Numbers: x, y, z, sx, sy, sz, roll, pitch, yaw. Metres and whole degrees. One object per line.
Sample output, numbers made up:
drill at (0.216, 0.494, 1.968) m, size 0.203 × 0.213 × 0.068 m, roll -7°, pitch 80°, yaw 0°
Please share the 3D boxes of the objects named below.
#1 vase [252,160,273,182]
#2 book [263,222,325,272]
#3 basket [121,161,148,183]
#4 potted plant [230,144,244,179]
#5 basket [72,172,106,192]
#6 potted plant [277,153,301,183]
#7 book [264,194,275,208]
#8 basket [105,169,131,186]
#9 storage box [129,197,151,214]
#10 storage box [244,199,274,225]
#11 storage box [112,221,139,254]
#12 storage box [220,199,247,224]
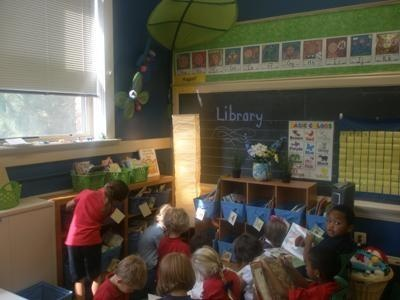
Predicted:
vase at (0.789, 0.273, 3.633) m, size 0.214 × 0.216 × 0.220 m, roll 1°, pitch -4°, yaw 4°
book at (0.827, 0.765, 2.430) m, size 0.293 × 0.409 × 0.118 m, roll -3°, pitch 16°, yaw 31°
basket at (-0.836, 0.270, 3.676) m, size 0.222 × 0.159 × 0.324 m, roll 0°, pitch 3°, yaw 8°
potted plant at (0.517, 0.181, 3.943) m, size 0.144 × 0.339 × 0.371 m, roll 1°, pitch 8°, yaw 8°
basket at (-1.241, 0.356, 3.301) m, size 0.185 × 0.139 × 0.295 m, roll -1°, pitch -1°, yaw 29°
potted plant at (1.042, 0.228, 3.638) m, size 0.245 × 0.421 × 0.285 m, roll 1°, pitch -2°, yaw 8°
book at (0.845, 0.618, 3.508) m, size 0.042 × 0.145 × 0.107 m, roll 16°, pitch 9°, yaw 20°
basket at (-0.969, 0.335, 3.482) m, size 0.213 × 0.102 × 0.159 m, roll 2°, pitch 3°, yaw 34°
storage box at (-0.793, 0.661, 3.707) m, size 0.235 × 0.180 × 0.176 m, roll 1°, pitch 5°, yaw 2°
storage box at (0.723, 0.745, 3.549) m, size 0.269 × 0.183 × 0.280 m, roll 0°, pitch 4°, yaw 12°
storage box at (-0.903, 1.099, 3.577) m, size 0.289 × 0.247 × 0.422 m, roll 0°, pitch 6°, yaw -12°
storage box at (0.356, 0.822, 3.750) m, size 0.370 × 0.264 × 0.207 m, roll 16°, pitch -23°, yaw -32°
